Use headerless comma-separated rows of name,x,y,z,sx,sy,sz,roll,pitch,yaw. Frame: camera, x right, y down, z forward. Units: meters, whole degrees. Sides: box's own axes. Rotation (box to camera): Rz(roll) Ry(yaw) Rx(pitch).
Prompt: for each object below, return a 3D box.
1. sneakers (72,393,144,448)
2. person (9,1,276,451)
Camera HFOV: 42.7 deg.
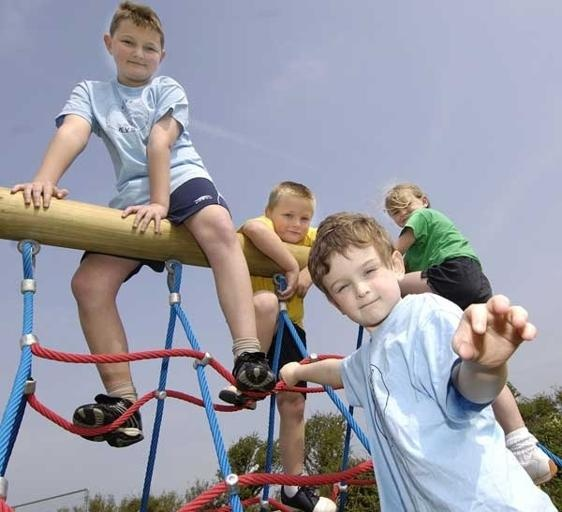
sneakers,-0.752,0.710,3.135,0.253,0.218,0.319,-6,-21,0
person,-0.629,-0.281,3.522,0.999,2.311,0.582,-4,-19,-3
